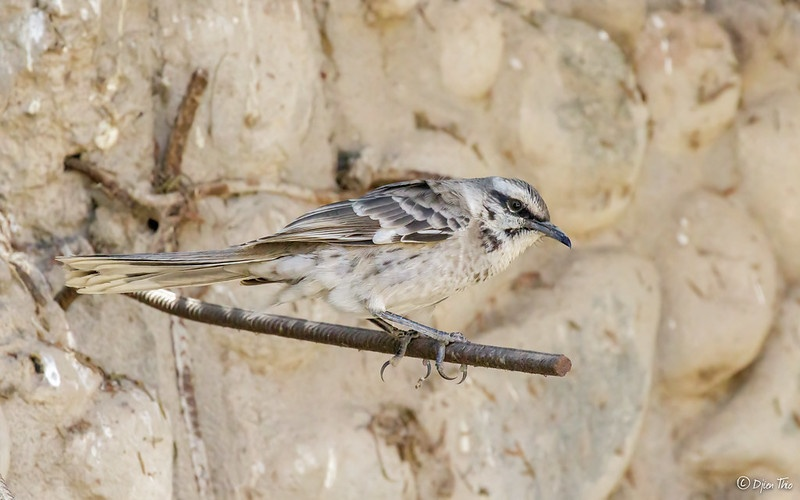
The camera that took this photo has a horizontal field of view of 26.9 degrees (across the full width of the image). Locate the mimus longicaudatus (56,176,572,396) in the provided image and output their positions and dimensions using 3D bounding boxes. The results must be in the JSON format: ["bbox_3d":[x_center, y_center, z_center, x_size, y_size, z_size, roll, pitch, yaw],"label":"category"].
[{"bbox_3d":[-0.313,0.161,10.902,2.827,0.565,1.026,-16,86,-2],"label":"mimus longicaudatus"}]
